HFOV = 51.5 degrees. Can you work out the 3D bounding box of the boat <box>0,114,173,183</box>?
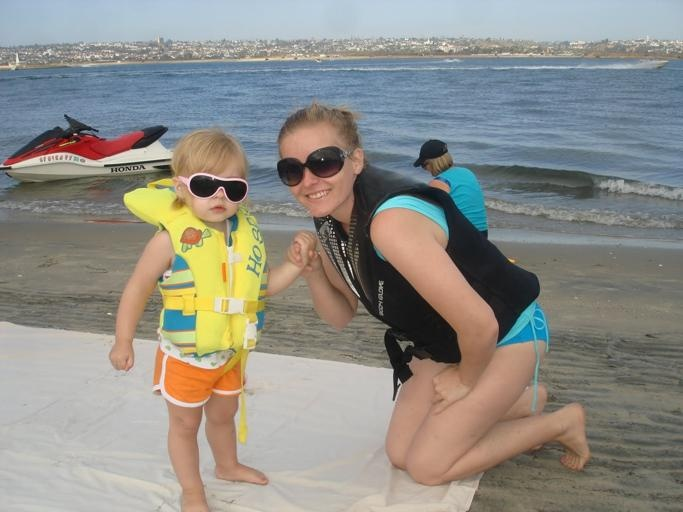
[{"bbox_3d":[-6.870,-2.497,16.736,5.854,1.300,1.859,-3,11,-23],"label":"boat"}]
